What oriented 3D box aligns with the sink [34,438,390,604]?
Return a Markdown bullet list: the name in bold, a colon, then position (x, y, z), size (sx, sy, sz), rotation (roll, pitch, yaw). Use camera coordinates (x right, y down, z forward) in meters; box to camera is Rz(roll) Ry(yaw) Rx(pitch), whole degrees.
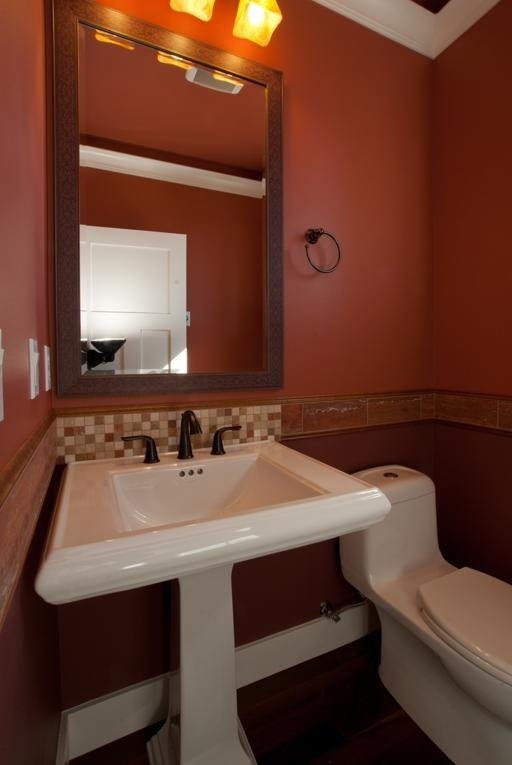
- **sink**: position (-0.122, 0.302, 1.192), size (0.689, 0.239, 0.630), rotation (4, 4, -23)
